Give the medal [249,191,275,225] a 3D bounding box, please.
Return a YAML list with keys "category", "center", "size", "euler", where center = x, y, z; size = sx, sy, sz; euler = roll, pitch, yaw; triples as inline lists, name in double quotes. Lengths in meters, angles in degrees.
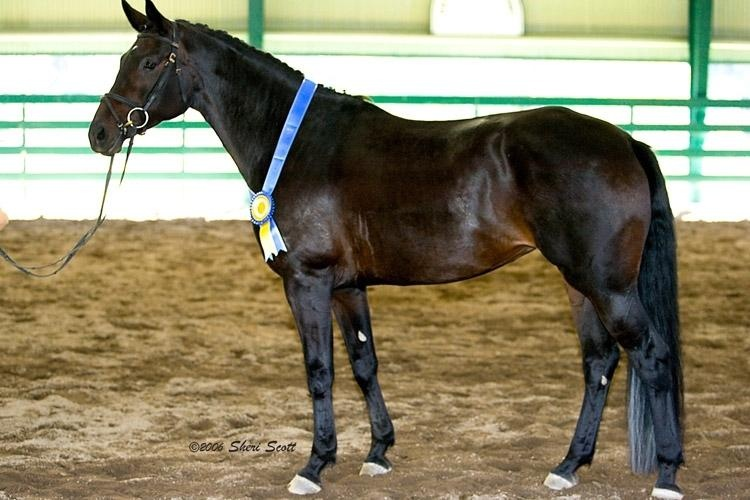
- category: "medal"
  center: [-1.062, -0.400, 13.096]
  size: [0.285, 0.264, 0.072]
  euler: [-7, -8, 13]
